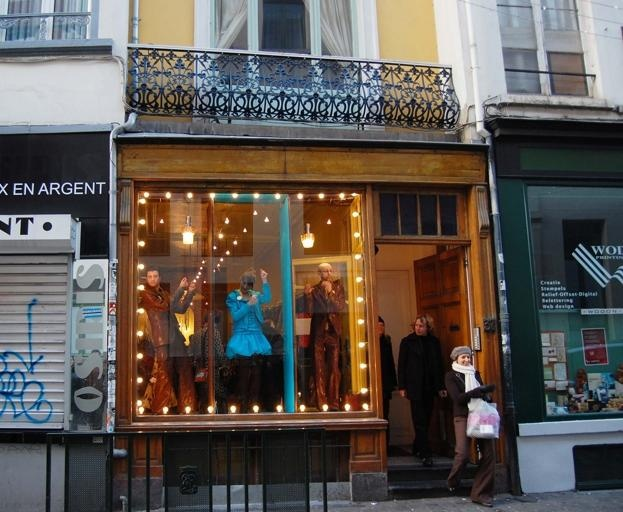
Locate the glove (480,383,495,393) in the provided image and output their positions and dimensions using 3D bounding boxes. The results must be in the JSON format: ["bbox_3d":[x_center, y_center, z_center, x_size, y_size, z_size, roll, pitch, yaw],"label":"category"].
[{"bbox_3d":[2.233,1.677,10.221,0.124,0.062,0.164,-7,5,-40],"label":"glove"}]

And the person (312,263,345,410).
[{"bbox_3d":[0.248,1.218,10.945,0.458,1.682,0.159,-2,-8,0],"label":"person"}]

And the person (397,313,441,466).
[{"bbox_3d":[1.541,1.866,11.410,0.499,2.020,0.570,-8,-10,38],"label":"person"}]

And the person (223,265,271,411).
[{"bbox_3d":[-0.838,1.127,10.837,0.608,1.877,0.146,-2,-8,-4],"label":"person"}]

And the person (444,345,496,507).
[{"bbox_3d":[2.048,2.168,10.365,0.657,1.995,0.461,-4,-8,11],"label":"person"}]

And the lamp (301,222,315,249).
[{"bbox_3d":[-0.047,-0.273,11.146,0.192,0.354,0.050,0,-8,-21],"label":"lamp"}]

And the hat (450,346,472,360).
[{"bbox_3d":[1.962,1.239,10.591,0.190,0.153,0.244,13,-31,-29],"label":"hat"}]
